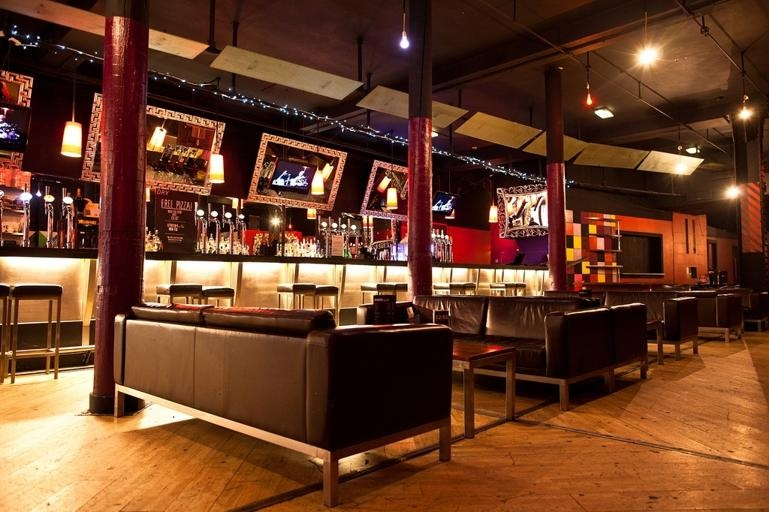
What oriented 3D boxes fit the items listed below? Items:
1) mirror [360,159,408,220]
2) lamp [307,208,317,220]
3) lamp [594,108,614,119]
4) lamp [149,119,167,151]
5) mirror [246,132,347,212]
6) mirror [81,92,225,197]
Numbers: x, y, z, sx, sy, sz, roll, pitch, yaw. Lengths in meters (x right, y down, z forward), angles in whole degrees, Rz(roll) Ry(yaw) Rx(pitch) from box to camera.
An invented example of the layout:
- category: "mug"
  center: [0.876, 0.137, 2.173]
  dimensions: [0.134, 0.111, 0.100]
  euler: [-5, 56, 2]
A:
- category: "mirror"
  center: [0.153, -1.492, 13.800]
  dimensions: [0.072, 1.318, 1.898]
  euler: [7, 7, -34]
- category: "lamp"
  center: [-1.721, -0.973, 13.608]
  dimensions: [0.266, 0.273, 0.278]
  euler: [-1, 1, 3]
- category: "lamp"
  center: [5.140, -3.377, 13.806]
  dimensions: [0.339, 0.083, 0.372]
  euler: [2, 3, 40]
- category: "lamp"
  center: [-4.082, -2.130, 10.509]
  dimensions: [0.251, 0.465, 0.284]
  euler: [2, -6, -41]
- category: "mirror"
  center: [-1.818, -1.672, 12.165]
  dimensions: [1.932, 1.344, 0.117]
  euler: [7, 19, -35]
- category: "mirror"
  center: [-3.644, -1.743, 9.163]
  dimensions: [2.599, 1.703, 0.113]
  euler: [4, 8, -39]
